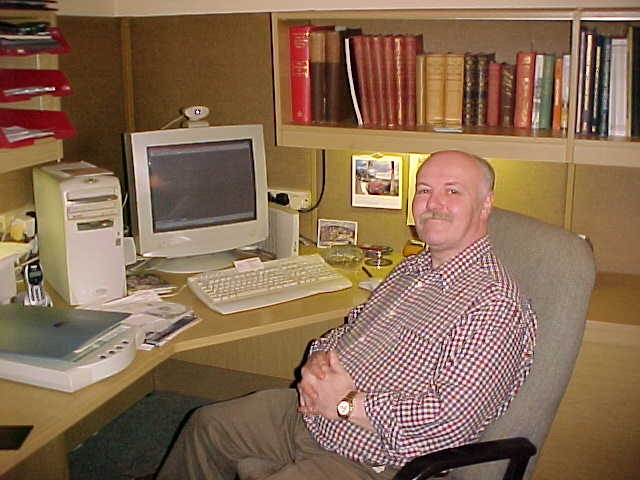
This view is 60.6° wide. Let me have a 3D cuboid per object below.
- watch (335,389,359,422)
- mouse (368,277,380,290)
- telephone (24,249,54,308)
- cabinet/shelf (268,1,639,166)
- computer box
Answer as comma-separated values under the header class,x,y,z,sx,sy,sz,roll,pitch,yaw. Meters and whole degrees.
class,x,y,z,sx,sy,sz,roll,pitch,yaw
watch,0.085,0.487,1.627,0.052,0.077,0.084,27,68,18
mouse,0.207,0.164,2.113,0.043,0.011,0.031,4,30,16
telephone,-0.960,0.136,1.855,0.115,0.157,0.062,-3,6,-25
cabinet/shelf,0.508,-0.633,2.224,1.433,0.607,0.300,4,17,19
computer box,-0.880,-0.036,1.999,0.274,0.459,0.365,-11,18,-30
